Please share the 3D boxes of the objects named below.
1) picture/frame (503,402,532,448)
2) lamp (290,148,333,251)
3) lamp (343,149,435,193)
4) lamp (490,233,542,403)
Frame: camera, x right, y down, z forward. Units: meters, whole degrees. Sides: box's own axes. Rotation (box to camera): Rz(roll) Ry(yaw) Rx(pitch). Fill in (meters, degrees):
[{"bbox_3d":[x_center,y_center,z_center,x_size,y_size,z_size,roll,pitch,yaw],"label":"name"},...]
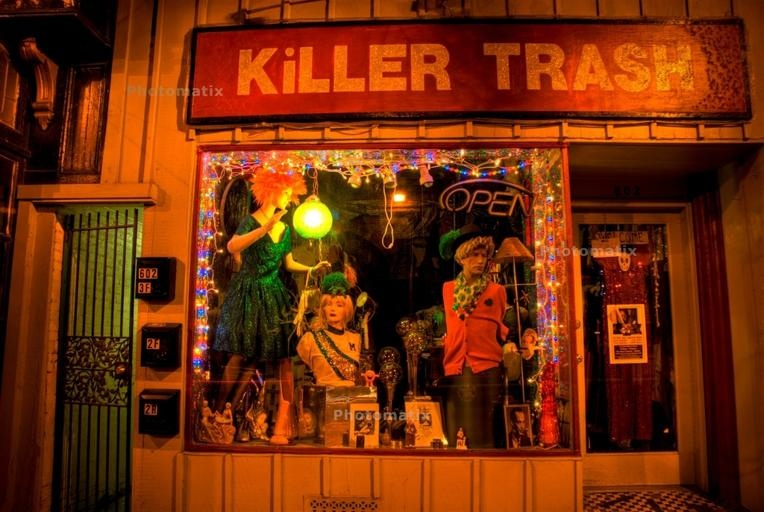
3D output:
[{"bbox_3d":[1.276,1.581,7.430,0.293,0.410,0.012,7,-21,-25],"label":"picture/frame"},{"bbox_3d":[-0.643,-0.478,7.757,0.431,0.869,0.421,-3,-1,-38],"label":"lamp"},{"bbox_3d":[0.076,-0.824,7.712,0.900,0.332,0.164,-3,0,5],"label":"lamp"},{"bbox_3d":[1.298,0.590,7.542,0.388,1.552,0.368,-7,-11,15],"label":"lamp"}]
